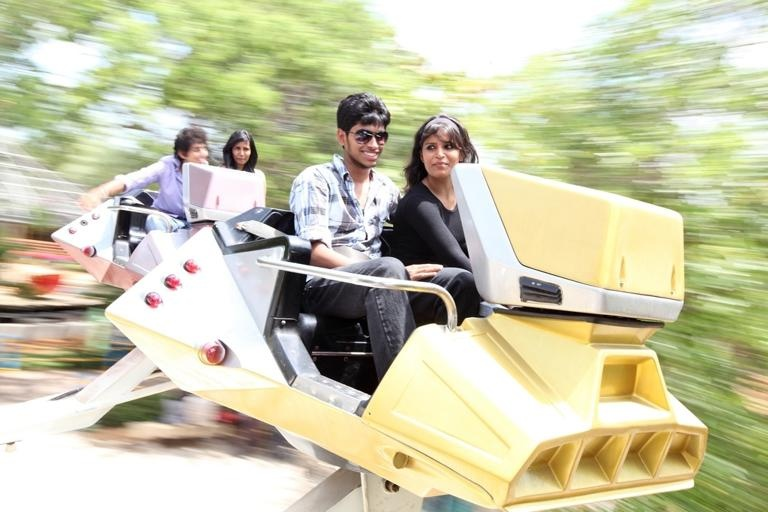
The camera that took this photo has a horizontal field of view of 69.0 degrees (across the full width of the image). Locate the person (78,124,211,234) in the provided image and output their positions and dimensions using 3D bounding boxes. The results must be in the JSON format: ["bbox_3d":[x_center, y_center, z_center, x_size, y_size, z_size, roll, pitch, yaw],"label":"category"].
[{"bbox_3d":[-2.212,-0.790,5.569,1.274,0.943,0.791,16,21,29],"label":"person"}]

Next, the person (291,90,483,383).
[{"bbox_3d":[-0.016,-0.226,3.174,0.966,1.340,1.488,2,18,-13],"label":"person"}]
